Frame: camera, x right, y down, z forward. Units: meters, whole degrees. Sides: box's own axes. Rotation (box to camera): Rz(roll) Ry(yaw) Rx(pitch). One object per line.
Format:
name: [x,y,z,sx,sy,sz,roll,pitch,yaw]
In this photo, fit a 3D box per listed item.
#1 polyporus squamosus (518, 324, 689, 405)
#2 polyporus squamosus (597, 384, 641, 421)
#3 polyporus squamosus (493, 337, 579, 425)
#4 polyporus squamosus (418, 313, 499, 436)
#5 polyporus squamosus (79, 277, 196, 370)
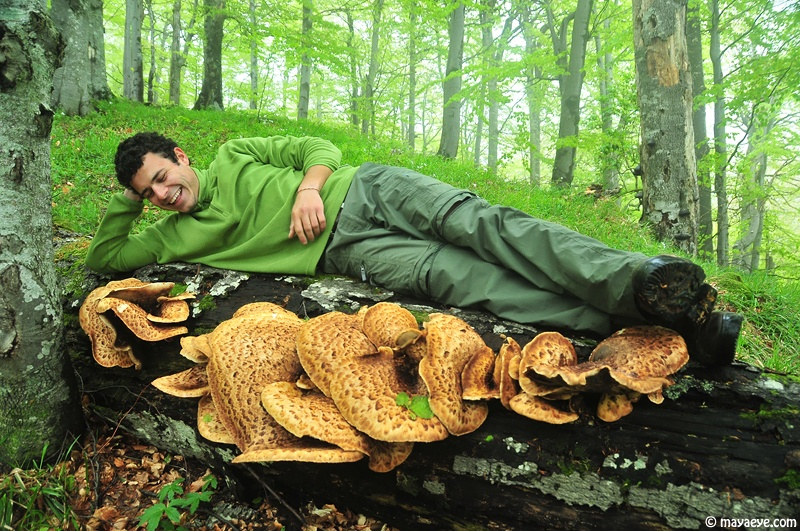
polyporus squamosus: [2.306,1.107,7.251,1.794,0.854,0.718,7,11,10]
polyporus squamosus: [2.432,1.559,7.109,0.406,0.394,0.204,9,11,15]
polyporus squamosus: [1.473,1.308,7.451,0.856,0.999,0.966,-1,0,5]
polyporus squamosus: [0.635,1.270,7.353,0.852,1.216,0.699,7,11,2]
polyporus squamosus: [-3.159,0.736,7.954,1.281,0.600,1.151,-11,51,-44]
